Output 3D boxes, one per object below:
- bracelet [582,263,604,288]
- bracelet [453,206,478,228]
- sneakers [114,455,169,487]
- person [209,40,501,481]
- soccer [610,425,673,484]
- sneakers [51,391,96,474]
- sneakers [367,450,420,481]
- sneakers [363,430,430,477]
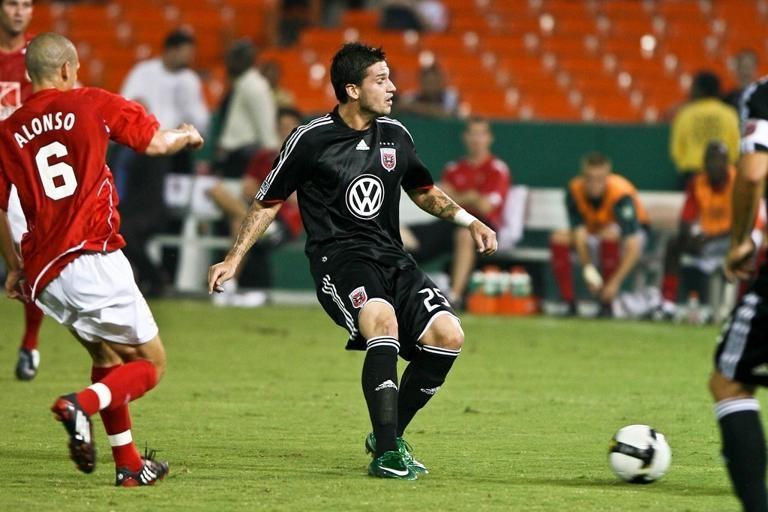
[{"bbox_3d":[1.880,0.198,9.411,0.065,0.229,0.239,-30,6,12],"label":"bracelet"},{"bbox_3d":[0.575,-0.257,7.267,0.176,0.104,0.081,31,-16,51],"label":"bracelet"},{"bbox_3d":[-1.467,1.320,6.586,0.357,0.166,0.129,-8,8,-37],"label":"sneakers"},{"bbox_3d":[-0.166,-0.036,6.992,1.433,2.757,0.878,3,7,17],"label":"person"},{"bbox_3d":[1.597,1.237,6.682,0.344,0.352,0.333,6,-9,-10],"label":"soccer"},{"bbox_3d":[-1.794,1.056,6.194,0.245,0.482,0.188,2,7,10],"label":"sneakers"},{"bbox_3d":[0.080,1.309,6.641,0.328,0.162,0.130,1,0,15],"label":"sneakers"},{"bbox_3d":[0.070,1.265,6.892,0.179,0.215,0.520,-6,13,-39],"label":"sneakers"}]
